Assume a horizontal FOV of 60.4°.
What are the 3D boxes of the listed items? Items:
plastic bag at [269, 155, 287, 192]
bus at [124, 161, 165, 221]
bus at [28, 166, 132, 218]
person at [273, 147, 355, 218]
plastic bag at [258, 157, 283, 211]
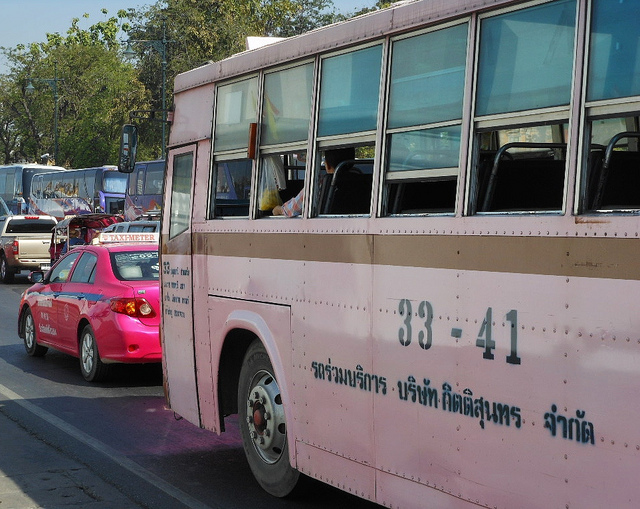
[{"bbox_3d":[-0.361,-0.703,4.736,0.160,0.054,0.474,6,-23,2],"label":"plastic bag"},{"bbox_3d":[-11.207,-4.155,34.943,0.788,3.273,4.837,1,0,-38],"label":"bus"},{"bbox_3d":[-18.841,-4.198,43.013,10.048,3.934,3.051,1,2,35],"label":"bus"},{"bbox_3d":[-0.124,-0.520,4.335,0.785,0.499,0.494,13,6,40],"label":"person"},{"bbox_3d":[-0.413,-0.582,4.714,0.215,0.451,0.194,-9,5,30],"label":"plastic bag"}]
